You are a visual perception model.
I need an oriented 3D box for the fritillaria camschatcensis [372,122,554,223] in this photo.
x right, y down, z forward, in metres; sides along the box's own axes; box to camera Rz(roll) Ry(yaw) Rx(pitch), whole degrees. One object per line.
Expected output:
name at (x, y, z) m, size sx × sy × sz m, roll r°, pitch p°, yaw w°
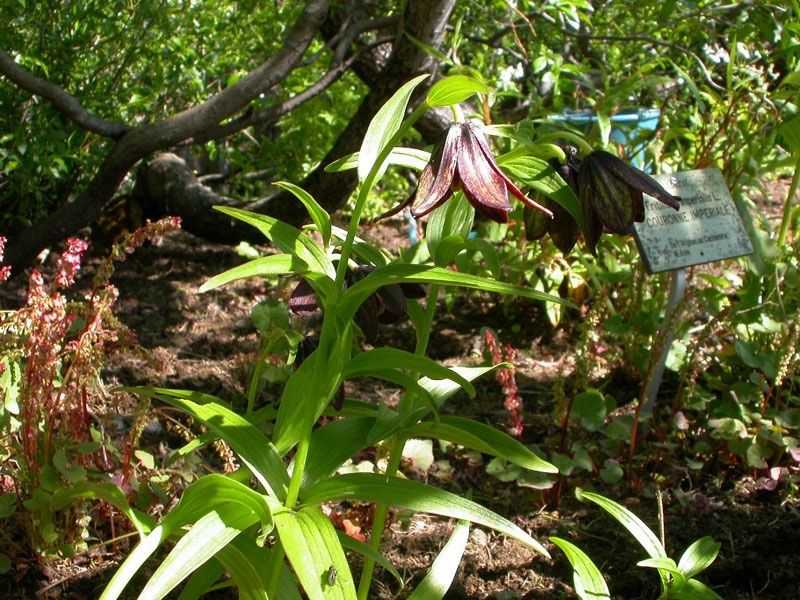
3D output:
fritillaria camschatcensis at (0.183, -0.322, 2.017) m, size 0.360 × 0.284 × 0.492 m, roll 0°, pitch -4°, yaw 5°

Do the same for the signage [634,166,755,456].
signage at (0.984, 0.026, 2.776) m, size 0.508 × 1.045 × 0.300 m, roll 7°, pitch -4°, yaw -41°

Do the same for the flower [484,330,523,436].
flower at (0.376, 0.323, 2.905) m, size 0.076 × 0.390 × 0.121 m, roll -14°, pitch 9°, yaw 1°

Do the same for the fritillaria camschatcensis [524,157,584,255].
fritillaria camschatcensis at (0.437, -0.283, 2.261) m, size 0.115 × 0.332 × 0.157 m, roll 0°, pitch -10°, yaw 23°
